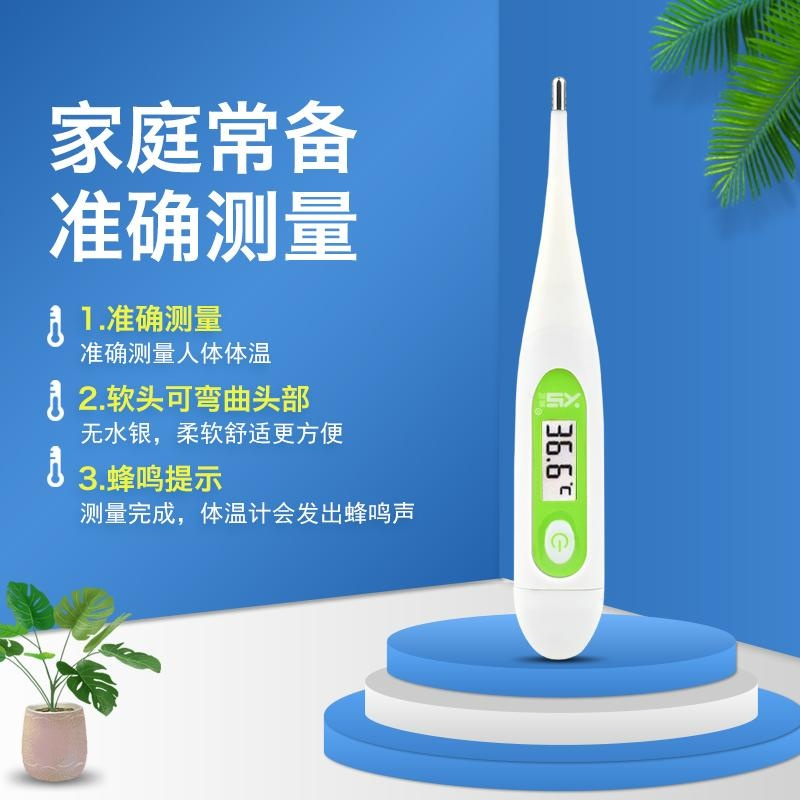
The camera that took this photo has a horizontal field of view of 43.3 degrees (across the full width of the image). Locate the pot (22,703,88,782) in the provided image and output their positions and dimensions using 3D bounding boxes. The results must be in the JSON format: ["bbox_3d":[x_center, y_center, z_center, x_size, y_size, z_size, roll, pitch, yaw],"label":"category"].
[{"bbox_3d":[-0.604,0.603,1.817,0.142,0.128,0.133,-1,-8,0],"label":"pot"}]
